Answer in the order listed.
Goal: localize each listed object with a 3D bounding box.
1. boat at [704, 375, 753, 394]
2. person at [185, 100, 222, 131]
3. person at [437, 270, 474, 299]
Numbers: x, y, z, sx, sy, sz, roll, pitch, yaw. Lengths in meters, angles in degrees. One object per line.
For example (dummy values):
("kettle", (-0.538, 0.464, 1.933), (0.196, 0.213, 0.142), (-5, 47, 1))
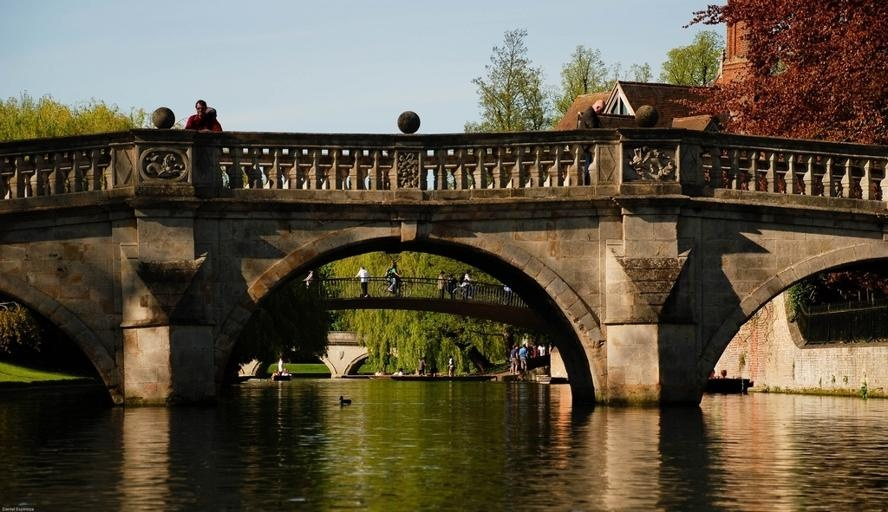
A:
("boat", (8.657, 4.030, 60.441), (1.800, 0.490, 1.153), (1, -3, -17))
("person", (-6.278, -3.478, 51.250), (0.952, 1.166, 0.718), (-7, 7, -9))
("person", (0.454, 1.131, 70.065), (1.109, 0.756, 0.860), (-2, -5, 33))
